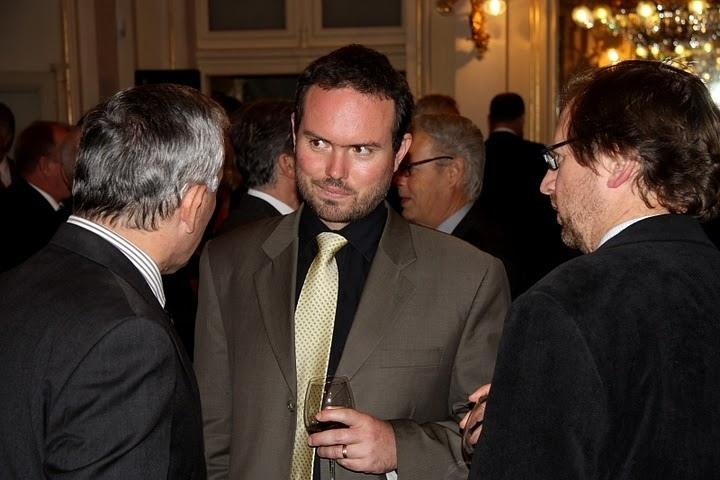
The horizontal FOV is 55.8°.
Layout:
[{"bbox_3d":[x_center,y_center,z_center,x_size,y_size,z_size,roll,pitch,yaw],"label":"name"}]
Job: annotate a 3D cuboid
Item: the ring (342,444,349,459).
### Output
[{"bbox_3d":[-0.048,0.634,2.033,0.029,0.031,0.030,3,36,-2],"label":"ring"}]
